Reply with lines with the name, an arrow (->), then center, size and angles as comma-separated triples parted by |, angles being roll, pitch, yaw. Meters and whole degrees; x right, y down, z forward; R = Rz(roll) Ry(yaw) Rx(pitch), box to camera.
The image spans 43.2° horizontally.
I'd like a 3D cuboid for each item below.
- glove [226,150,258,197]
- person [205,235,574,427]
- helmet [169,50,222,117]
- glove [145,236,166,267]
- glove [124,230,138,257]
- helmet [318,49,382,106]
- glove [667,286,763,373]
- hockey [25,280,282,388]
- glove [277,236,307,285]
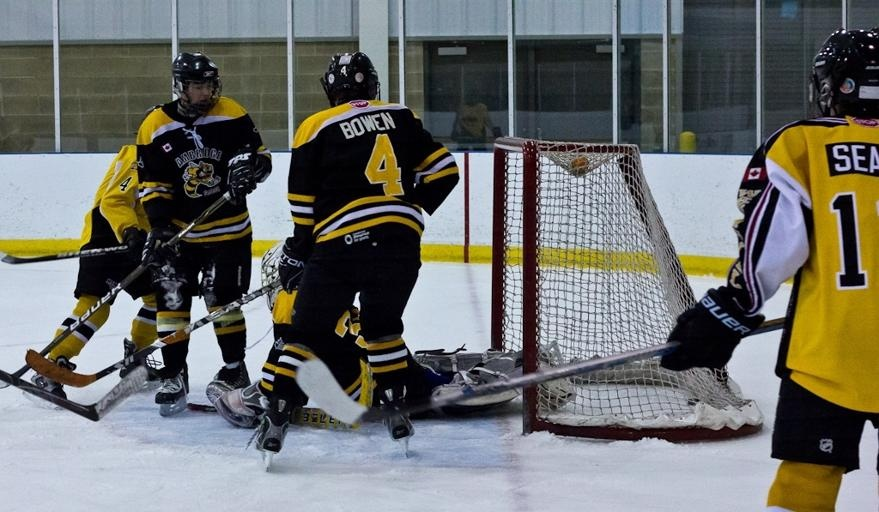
glove -> -1.172, -0.478, 6.644 | 0.174, 0.269, 0.116 | -14, -47, 34
person -> -0.516, 0.444, 6.776 | 2.239, 0.941, 0.687 | 9, -21, -38
helmet -> -1.463, -1.035, 6.732 | 0.311, 0.354, 0.387 | -8, 30, -30
glove -> -1.680, -0.029, 6.582 | 0.132, 0.160, 0.064 | 18, 4, 18
glove -> -1.879, -0.090, 6.785 | 0.067, 0.147, 0.117 | -3, 7, -37
helmet -> -0.469, -0.964, 6.226 | 0.309, 0.288, 0.333 | 1, 0, 17
glove -> 1.250, 0.356, 5.132 | 0.523, 0.289, 0.199 | -32, -22, -5
hockey -> -1.786, 0.516, 7.034 | 1.054, 0.080, 0.325 | -26, 27, -9
glove -> -0.812, 0.027, 6.096 | 0.203, 0.230, 0.215 | 5, -10, -6
